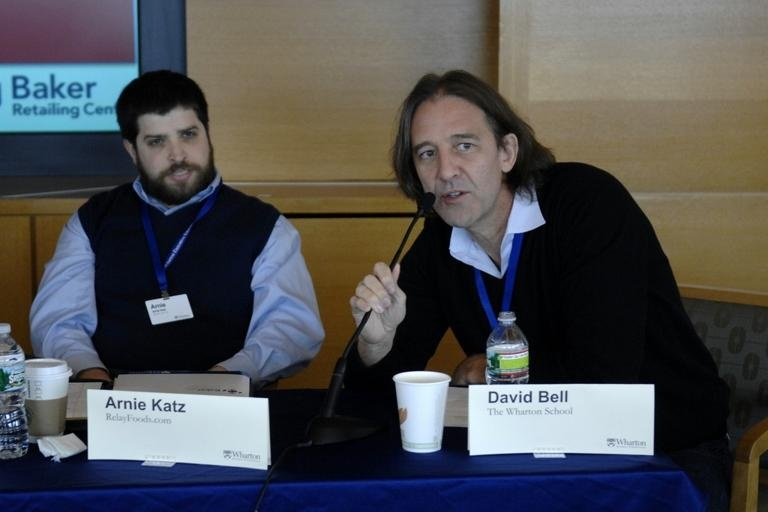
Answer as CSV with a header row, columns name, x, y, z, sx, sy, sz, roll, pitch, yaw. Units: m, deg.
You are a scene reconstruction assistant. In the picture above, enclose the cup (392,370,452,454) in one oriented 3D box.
name,x,y,z,sx,sy,sz,roll,pitch,yaw
cup,0.089,0.354,1.660,0.166,0.178,0.161,0,3,0
